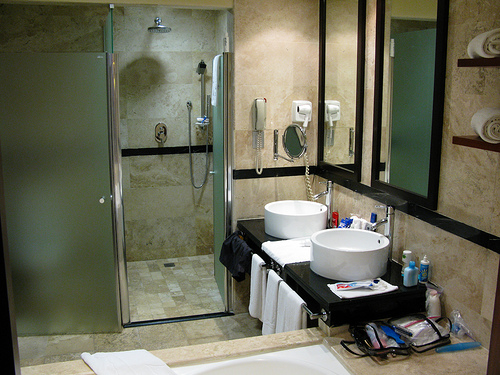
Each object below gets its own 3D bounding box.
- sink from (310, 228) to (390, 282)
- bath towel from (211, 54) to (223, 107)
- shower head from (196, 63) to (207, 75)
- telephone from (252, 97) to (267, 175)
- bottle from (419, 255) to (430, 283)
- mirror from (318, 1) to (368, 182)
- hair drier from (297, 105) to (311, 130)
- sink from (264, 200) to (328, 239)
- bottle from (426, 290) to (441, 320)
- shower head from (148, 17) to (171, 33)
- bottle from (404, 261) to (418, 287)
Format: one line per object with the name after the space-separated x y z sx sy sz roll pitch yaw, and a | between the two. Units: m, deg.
0.634 0.429 2.583 0.461 0.227 0.439 -13 16 -38 | sink
-0.320 -0.988 3.743 0.073 0.461 0.341 -5 13 -13 | bath towel
-0.565 -1.362 4.594 0.105 0.147 0.112 -8 46 -34 | shower head
0.083 -0.432 3.459 0.115 0.665 0.091 -3 12 -1 | telephone
1.059 0.492 2.414 0.050 0.151 0.110 5 14 31 | bottle
0.737 -0.817 3.226 0.214 1.422 0.725 -4 12 -8 | mirror
0.474 -0.621 3.518 0.082 0.197 0.092 6 15 33 | hair drier
0.380 0.267 3.352 0.525 0.219 0.544 0 8 -3 | sink
1.076 0.678 2.336 0.075 0.148 0.060 -1 12 5 | bottle
-0.986 -1.776 4.331 0.229 0.197 0.389 -5 13 -9 | shower head
0.967 0.512 2.394 0.094 0.142 0.050 -5 13 -12 | bottle
